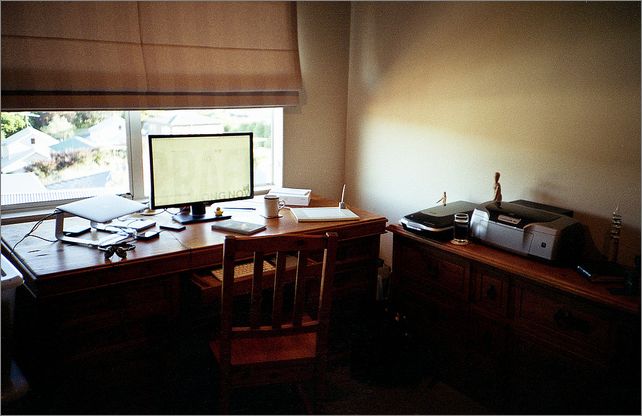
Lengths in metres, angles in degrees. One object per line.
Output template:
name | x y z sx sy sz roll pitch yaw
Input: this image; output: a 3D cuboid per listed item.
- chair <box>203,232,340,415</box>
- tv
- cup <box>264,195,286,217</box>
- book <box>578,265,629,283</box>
chair | -0.240 0.620 2.167 0.604 1.069 0.307 -4 17 -15
tv | -0.759 -0.190 2.739 0.611 0.444 0.170 -5 11 -32
cup | -0.298 -0.026 2.875 0.153 0.133 0.095 -5 14 -32
book | 1.497 0.340 2.309 0.234 0.058 0.139 0 16 -2
